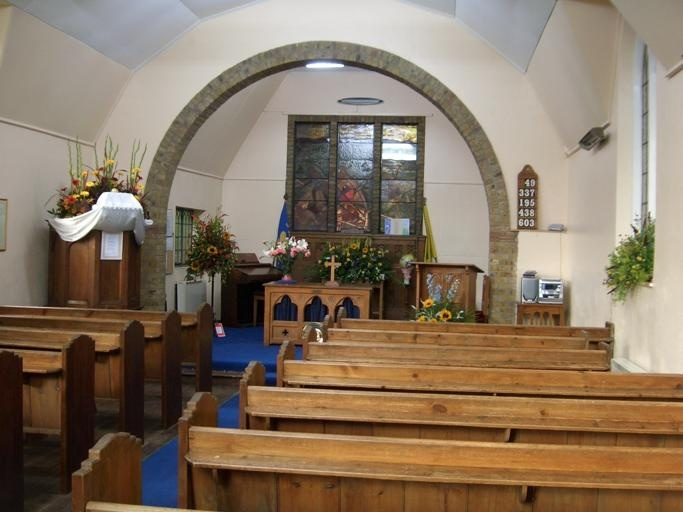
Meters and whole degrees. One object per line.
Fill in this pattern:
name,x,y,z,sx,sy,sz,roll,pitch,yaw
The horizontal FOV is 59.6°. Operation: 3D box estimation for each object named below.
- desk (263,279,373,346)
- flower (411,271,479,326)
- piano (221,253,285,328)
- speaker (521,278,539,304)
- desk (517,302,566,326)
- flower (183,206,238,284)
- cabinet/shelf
desk,-0.363,1.000,9.434,1.626,1.083,0.621,3,-3,-12
flower,1.413,0.658,8.338,0.866,0.904,0.675,-1,2,6
piano,-1.744,0.635,11.469,0.857,1.360,0.977,4,3,31
speaker,2.672,0.475,8.423,0.226,0.360,0.091,0,-2,20
desk,2.820,0.819,8.476,0.507,0.527,0.412,1,-2,5
flower,-2.026,-0.125,9.577,0.751,0.953,0.665,-1,-16,-12
cabinet/shelf,-3.392,0.190,8.147,1.015,1.102,0.629,1,-1,-11
